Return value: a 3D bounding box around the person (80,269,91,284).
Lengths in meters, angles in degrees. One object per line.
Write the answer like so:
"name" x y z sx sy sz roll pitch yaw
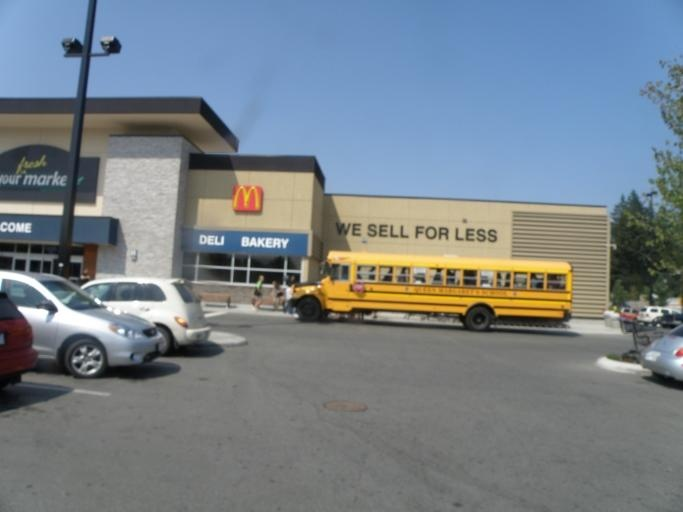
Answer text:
"person" -12.085 1.006 26.404 0.391 0.580 0.984 -2 41 -21

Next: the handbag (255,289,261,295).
"handbag" -4.234 1.843 28.347 0.276 0.332 0.764 2 0 -28
